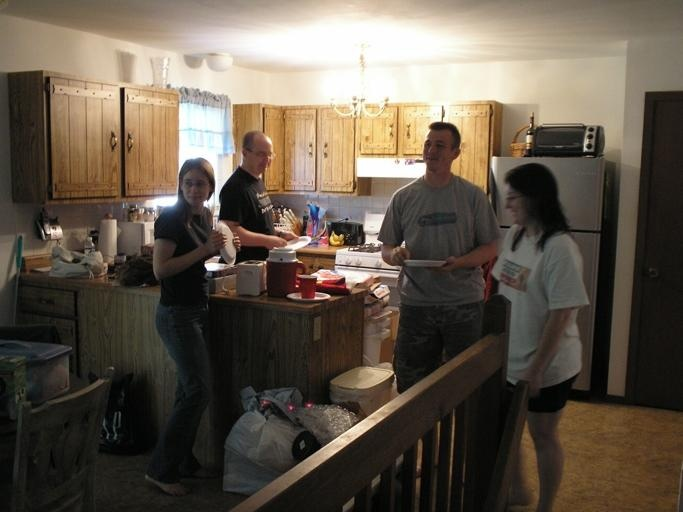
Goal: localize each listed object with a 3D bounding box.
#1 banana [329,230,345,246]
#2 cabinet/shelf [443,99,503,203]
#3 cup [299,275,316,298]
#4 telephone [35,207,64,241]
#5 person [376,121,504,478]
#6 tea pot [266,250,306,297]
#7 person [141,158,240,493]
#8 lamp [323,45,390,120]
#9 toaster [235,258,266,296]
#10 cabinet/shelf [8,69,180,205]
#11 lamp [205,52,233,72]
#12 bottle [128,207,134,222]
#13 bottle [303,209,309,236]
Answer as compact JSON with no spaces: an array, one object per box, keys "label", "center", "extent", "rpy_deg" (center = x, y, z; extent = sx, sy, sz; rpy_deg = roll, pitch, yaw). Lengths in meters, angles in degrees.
[{"label":"banana","center":[-0.056,-0.195,6.003],"extent":[0.101,0.098,0.151],"rpy_deg":[3,7,-17]},{"label":"cabinet/shelf","center":[1.377,-1.139,5.545],"extent":[0.481,0.960,0.328],"rpy_deg":[9,24,31]},{"label":"cup","center":[-0.205,0.181,3.249],"extent":[0.089,0.131,0.141],"rpy_deg":[-1,5,-4]},{"label":"telephone","center":[-2.419,-0.280,4.396],"extent":[0.069,0.248,0.175],"rpy_deg":[0,6,31]},{"label":"person","center":[0.569,0.042,3.232],"extent":[0.730,1.678,0.424],"rpy_deg":[4,9,16]},{"label":"tea pot","center":[-0.343,0.105,3.450],"extent":[0.276,0.305,0.182],"rpy_deg":[3,-4,-35]},{"label":"person","center":[-0.959,0.419,3.229],"extent":[0.471,2.008,0.393],"rpy_deg":[-1,9,-19]},{"label":"lamp","center":[0.194,-1.812,5.376],"extent":[0.552,0.806,0.622],"rpy_deg":[3,7,14]},{"label":"toaster","center":[-0.572,0.132,3.507],"extent":[0.147,0.199,0.280],"rpy_deg":[2,7,7]},{"label":"cabinet/shelf","center":[-2.053,-0.960,4.321],"extent":[0.367,0.819,1.195],"rpy_deg":[4,8,25]},{"label":"lamp","center":[-1.233,-1.973,5.401],"extent":[0.245,0.151,0.234],"rpy_deg":[11,14,42]},{"label":"bottle","center":[-1.911,-0.389,4.848],"extent":[0.067,0.119,0.045],"rpy_deg":[-1,9,-15]},{"label":"bottle","center":[-0.429,-0.377,6.374],"extent":[0.055,0.248,0.163],"rpy_deg":[-2,10,-20]}]
